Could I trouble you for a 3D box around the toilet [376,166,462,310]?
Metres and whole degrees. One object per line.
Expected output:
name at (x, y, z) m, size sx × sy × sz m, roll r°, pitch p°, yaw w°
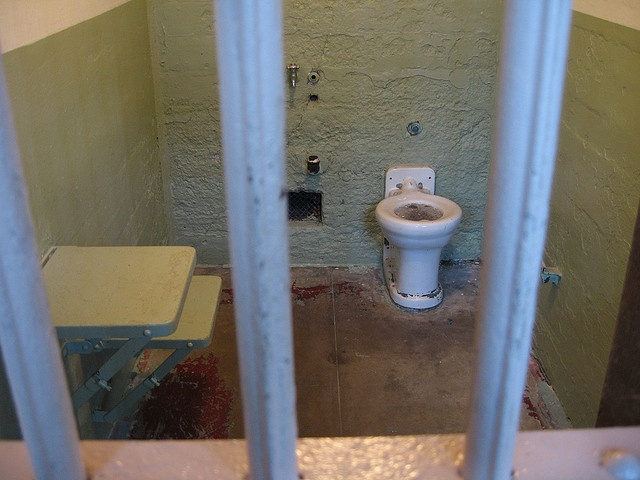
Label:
toilet at (0.540, -0.009, 3.041) m, size 0.442 × 0.704 × 0.602 m, roll 0°, pitch 21°, yaw 6°
